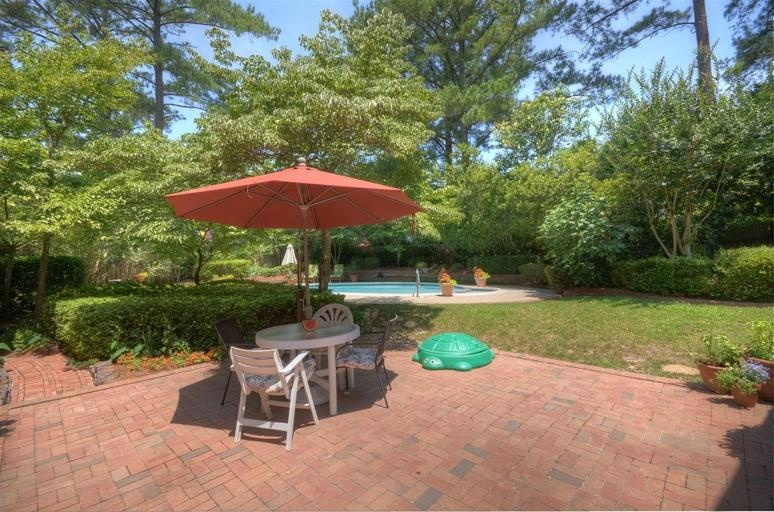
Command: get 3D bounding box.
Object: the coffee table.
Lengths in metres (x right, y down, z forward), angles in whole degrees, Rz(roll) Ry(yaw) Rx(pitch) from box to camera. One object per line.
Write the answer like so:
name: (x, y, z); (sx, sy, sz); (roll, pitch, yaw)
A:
coffee table: (-1.824, 2.535, 11.007); (2.460, 1.714, 2.416); (1, 3, 30)

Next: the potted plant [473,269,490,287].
potted plant: (5.322, 1.179, 25.475); (1.085, 1.009, 0.989); (1, -8, -5)

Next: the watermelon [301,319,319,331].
watermelon: (-1.718, 1.574, 10.617); (0.272, 0.157, 0.268); (4, 10, 31)

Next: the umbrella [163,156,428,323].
umbrella: (-2.136, -0.322, 11.218); (5.179, 3.756, 2.728); (-4, 5, -4)

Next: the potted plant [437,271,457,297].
potted plant: (2.784, 1.355, 22.396); (1.182, 1.331, 1.147); (1, -7, -11)
